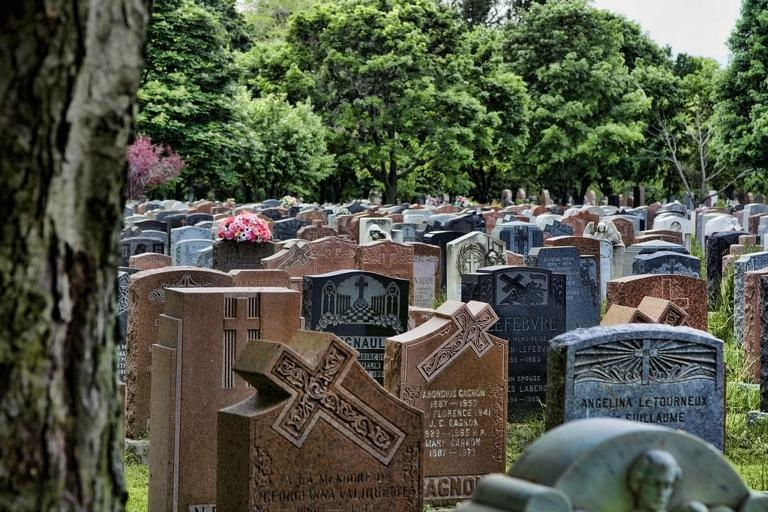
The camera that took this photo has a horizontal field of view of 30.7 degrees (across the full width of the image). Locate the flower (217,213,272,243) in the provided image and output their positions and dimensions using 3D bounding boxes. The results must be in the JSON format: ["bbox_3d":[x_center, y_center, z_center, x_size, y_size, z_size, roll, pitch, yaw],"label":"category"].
[{"bbox_3d":[-2.180,-0.419,21.737,0.584,0.357,0.578,1,-1,15],"label":"flower"}]
